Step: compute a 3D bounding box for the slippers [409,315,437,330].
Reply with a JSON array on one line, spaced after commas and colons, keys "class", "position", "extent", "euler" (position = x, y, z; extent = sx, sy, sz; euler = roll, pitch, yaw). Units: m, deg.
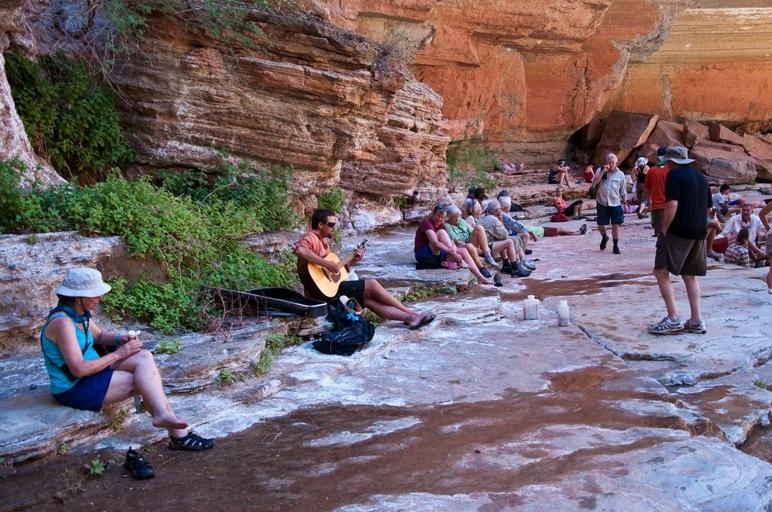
[{"class": "slippers", "position": [0.449, 0.849, 7.097], "extent": [0.364, 0.126, 0.102], "euler": [-20, -28, 23]}]

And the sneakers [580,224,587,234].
[{"class": "sneakers", "position": [5.277, -0.731, 15.053], "extent": [0.156, 0.167, 0.422], "euler": [6, 26, 20]}]

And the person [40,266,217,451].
[{"class": "person", "position": [-2.240, 0.877, 4.708], "extent": [1.158, 1.534, 0.473], "euler": [1, 12, 17]}]

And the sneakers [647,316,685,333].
[{"class": "sneakers", "position": [3.410, 0.865, 6.930], "extent": [0.437, 0.162, 0.170], "euler": [-3, -1, 3]}]

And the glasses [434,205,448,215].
[{"class": "glasses", "position": [0.907, -0.768, 9.469], "extent": [0.224, 0.138, 0.218], "euler": [-15, 21, -34]}]

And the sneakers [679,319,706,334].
[{"class": "sneakers", "position": [3.732, 0.866, 6.854], "extent": [0.325, 0.127, 0.141], "euler": [5, 9, 38]}]

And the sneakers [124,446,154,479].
[{"class": "sneakers", "position": [-1.957, 1.646, 4.484], "extent": [0.343, 0.130, 0.138], "euler": [10, 13, 38]}]

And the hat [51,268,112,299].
[{"class": "hat", "position": [-2.565, 0.249, 4.697], "extent": [0.345, 0.112, 0.289], "euler": [2, 11, 5]}]

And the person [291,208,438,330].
[{"class": "person", "position": [-0.165, 0.217, 7.311], "extent": [2.005, 1.201, 0.885], "euler": [13, 8, 0]}]

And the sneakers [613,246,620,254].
[{"class": "sneakers", "position": [4.777, -0.111, 11.774], "extent": [0.168, 0.164, 0.470], "euler": [-2, 0, 19]}]

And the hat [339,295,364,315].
[{"class": "hat", "position": [-0.435, 0.619, 6.973], "extent": [0.244, 0.301, 0.469], "euler": [-2, 10, 3]}]

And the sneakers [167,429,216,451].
[{"class": "sneakers", "position": [-1.633, 1.572, 4.778], "extent": [0.381, 0.139, 0.143], "euler": [1, -1, -4]}]
